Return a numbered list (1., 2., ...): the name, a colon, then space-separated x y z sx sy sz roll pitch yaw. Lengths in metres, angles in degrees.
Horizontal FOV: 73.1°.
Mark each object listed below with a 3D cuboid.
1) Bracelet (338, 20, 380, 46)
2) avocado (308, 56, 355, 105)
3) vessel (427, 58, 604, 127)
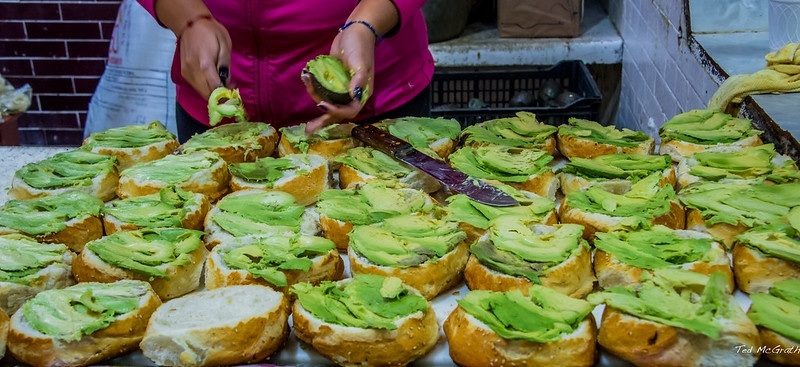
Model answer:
1. Bracelet: -0.199 -0.815 2.898 0.153 0.103 0.043 1 -24 -14
2. avocado: -0.383 -0.518 2.800 0.204 0.266 0.090 -37 -12 -30
3. vessel: 0.867 -0.688 4.379 1.284 0.476 0.666 0 41 2
